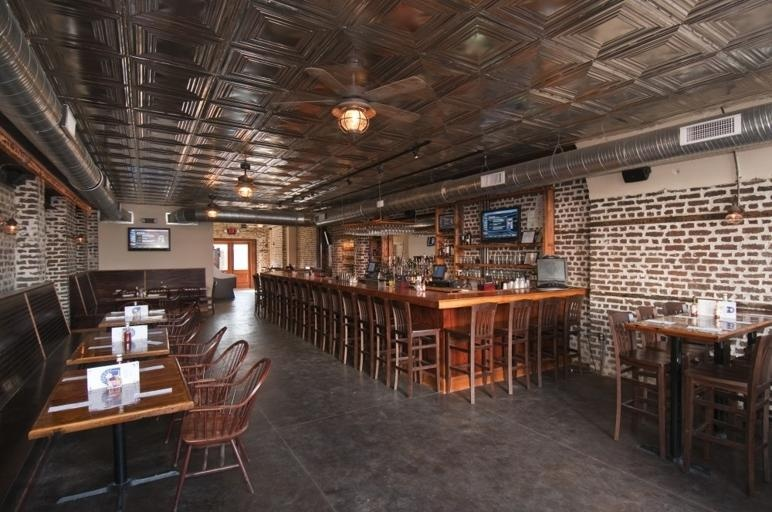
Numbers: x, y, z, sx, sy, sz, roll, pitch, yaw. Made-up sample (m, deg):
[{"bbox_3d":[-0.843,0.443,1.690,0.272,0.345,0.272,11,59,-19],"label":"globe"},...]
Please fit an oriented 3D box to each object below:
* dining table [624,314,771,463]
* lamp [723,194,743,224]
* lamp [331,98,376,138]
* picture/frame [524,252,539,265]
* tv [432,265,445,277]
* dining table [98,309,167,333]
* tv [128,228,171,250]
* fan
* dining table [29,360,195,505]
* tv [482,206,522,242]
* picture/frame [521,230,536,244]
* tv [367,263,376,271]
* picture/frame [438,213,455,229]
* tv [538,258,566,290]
[{"bbox_3d":[3.618,1.553,5.333,2.133,0.861,0.783,-1,3,-43],"label":"dining table"},{"bbox_3d":[4.619,-0.608,6.121,0.221,0.385,0.300,5,9,36],"label":"lamp"},{"bbox_3d":[-0.397,-1.783,6.008,0.577,0.307,0.505,-1,-2,15],"label":"lamp"},{"bbox_3d":[2.714,0.044,8.601,0.089,0.206,0.247,14,-12,-22],"label":"picture/frame"},{"bbox_3d":[1.053,0.296,9.211,0.148,0.201,0.257,17,-13,-33],"label":"tv"},{"bbox_3d":[-3.877,0.929,7.131,0.868,0.271,0.817,-3,6,-25],"label":"dining table"},{"bbox_3d":[-7.209,-0.522,13.997,0.907,0.473,0.105,-1,2,-27],"label":"tv"},{"bbox_3d":[-0.360,-2.226,5.936,2.476,0.653,2.207,-10,31,-18],"label":"fan"},{"bbox_3d":[-2.668,1.879,4.746,1.780,1.125,1.594,-1,2,-32],"label":"dining table"},{"bbox_3d":[2.270,-0.623,9.065,0.103,0.639,1.056,-4,4,-31],"label":"tv"},{"bbox_3d":[2.660,-0.355,8.583,0.048,0.214,0.299,14,-4,-39],"label":"picture/frame"},{"bbox_3d":[-0.343,0.271,11.601,0.033,0.165,0.241,14,-14,-39],"label":"tv"},{"bbox_3d":[1.376,-0.788,10.378,0.274,0.363,0.463,-3,5,-33],"label":"picture/frame"},{"bbox_3d":[2.806,0.261,7.841,0.481,0.506,0.288,2,8,18],"label":"tv"}]
